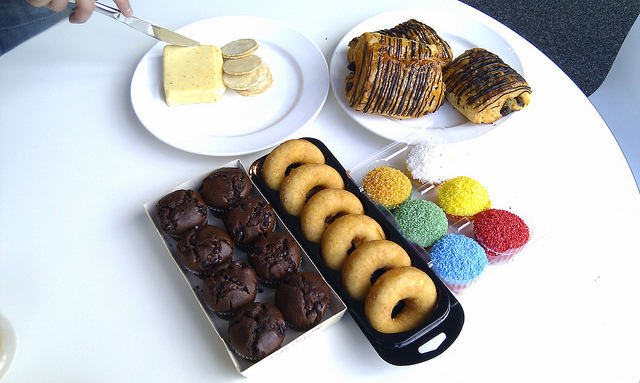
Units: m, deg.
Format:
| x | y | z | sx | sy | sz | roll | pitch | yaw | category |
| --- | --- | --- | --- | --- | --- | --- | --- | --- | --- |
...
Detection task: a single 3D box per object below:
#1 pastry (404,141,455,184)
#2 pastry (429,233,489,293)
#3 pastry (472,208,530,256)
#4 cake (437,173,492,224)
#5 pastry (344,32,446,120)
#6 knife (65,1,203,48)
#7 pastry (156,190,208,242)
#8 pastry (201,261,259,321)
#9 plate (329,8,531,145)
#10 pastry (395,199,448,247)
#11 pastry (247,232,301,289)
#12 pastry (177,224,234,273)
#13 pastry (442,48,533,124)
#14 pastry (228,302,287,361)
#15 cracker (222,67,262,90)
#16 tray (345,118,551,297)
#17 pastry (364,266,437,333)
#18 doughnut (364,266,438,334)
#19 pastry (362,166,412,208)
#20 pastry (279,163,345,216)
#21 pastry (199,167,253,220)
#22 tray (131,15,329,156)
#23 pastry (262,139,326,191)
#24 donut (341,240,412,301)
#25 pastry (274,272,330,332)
| x | y | z | sx | sy | sz | roll | pitch | yaw | category |
| --- | --- | --- | --- | --- | --- | --- | --- | --- | --- |
| 0.445 | -0.107 | 2.008 | 0.180 | 0.054 | 0.180 | 43 | 72 | 6 | pastry |
| 0.530 | 0.262 | 1.892 | 0.199 | 0.158 | 0.205 | -5 | 53 | -2 | pastry |
| 0.691 | 0.154 | 1.853 | 0.178 | 0.100 | 0.174 | -5 | 62 | -3 | pastry |
| 0.589 | 0.022 | 1.962 | 0.207 | 0.128 | 0.186 | -1 | 49 | 15 | cake |
| 0.326 | -0.483 | 2.064 | 0.414 | 0.241 | 0.251 | 5 | 59 | 7 | pastry |
| -0.893 | -0.778 | 2.284 | 0.728 | 0.063 | 0.094 | 18 | 100 | -10 | knife |
| -0.533 | 0.077 | 1.876 | 0.192 | 0.076 | 0.218 | -11 | 46 | -15 | pastry |
| -0.329 | 0.351 | 1.786 | 0.198 | 0.121 | 0.221 | 11 | 51 | 15 | pastry |
| 0.503 | -0.527 | 2.156 | 0.751 | 0.107 | 0.766 | -29 | 64 | -13 | plate |
| 0.397 | 0.114 | 1.858 | 0.161 | 0.102 | 0.181 | 8 | 61 | 2 | pastry |
| -0.167 | 0.241 | 1.777 | 0.182 | 0.111 | 0.201 | -8 | 65 | -7 | pastry |
| -0.419 | 0.209 | 1.732 | 0.170 | 0.090 | 0.172 | -1 | 65 | -5 | pastry |
| 0.724 | -0.466 | 2.120 | 0.325 | 0.105 | 0.365 | -35 | 56 | -12 | pastry |
| -0.227 | 0.495 | 1.719 | 0.216 | 0.117 | 0.209 | -12 | 44 | -22 | pastry |
| -0.344 | -0.496 | 2.139 | 0.178 | 0.035 | 0.099 | -6 | 58 | 0 | cracker |
| 0.463 | 0.050 | 1.960 | 0.566 | 0.196 | 0.745 | -29 | 75 | -19 | tray |
| 0.315 | 0.346 | 1.776 | 0.212 | 0.217 | 0.079 | -5 | 92 | -9 | pastry |
| 0.272 | 0.391 | 1.797 | 0.272 | 0.281 | 0.100 | -37 | 89 | 14 | doughnut |
| 0.325 | -0.023 | 2.002 | 0.199 | 0.212 | 0.071 | 34 | 91 | 0 | pastry |
| -0.029 | -0.010 | 1.951 | 0.256 | 0.257 | 0.087 | 6 | 37 | -34 | pastry |
| -0.364 | -0.008 | 1.875 | 0.176 | 0.105 | 0.190 | 4 | 62 | -1 | pastry |
| -0.326 | -0.428 | 2.118 | 0.721 | 0.083 | 0.732 | -34 | 66 | -19 | tray |
| -0.126 | -0.113 | 1.974 | 0.204 | 0.069 | 0.209 | -6 | 94 | 0 | pastry |
| 0.221 | 0.265 | 1.856 | 0.282 | 0.290 | 0.101 | -16 | 89 | 15 | donut |
| -0.057 | 0.384 | 1.714 | 0.179 | 0.107 | 0.206 | -8 | 66 | -5 | pastry |
